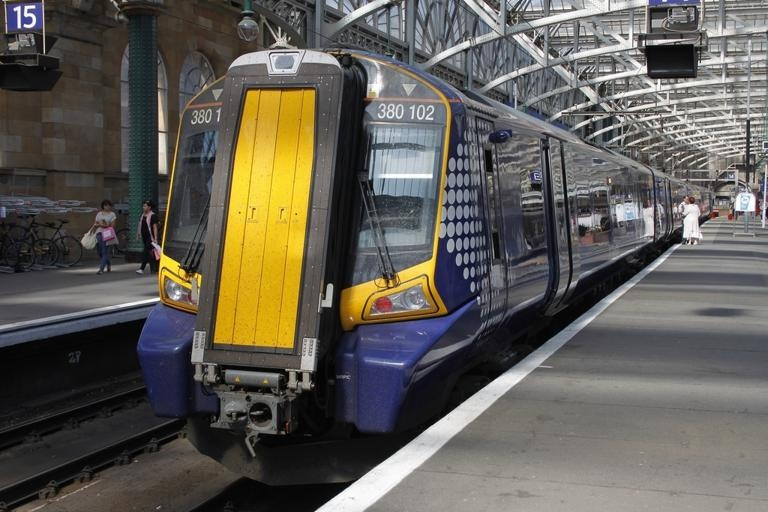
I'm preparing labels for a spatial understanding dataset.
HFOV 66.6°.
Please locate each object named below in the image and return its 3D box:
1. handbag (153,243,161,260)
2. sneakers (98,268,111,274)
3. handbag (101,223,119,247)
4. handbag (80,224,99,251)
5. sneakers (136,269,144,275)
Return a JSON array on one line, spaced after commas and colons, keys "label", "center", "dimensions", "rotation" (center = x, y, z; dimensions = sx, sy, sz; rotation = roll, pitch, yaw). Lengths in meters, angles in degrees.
[{"label": "handbag", "center": [-5.235, -0.108, 13.438], "dimensions": [0.101, 0.400, 0.279], "rotation": [-1, -4, -32]}, {"label": "sneakers", "center": [-7.333, 0.403, 15.216], "dimensions": [0.138, 0.193, 0.438], "rotation": [-2, -6, -1]}, {"label": "handbag", "center": [-7.060, -0.535, 14.914], "dimensions": [0.412, 0.541, 0.384], "rotation": [-3, 5, -37]}, {"label": "handbag", "center": [-8.374, -0.494, 16.561], "dimensions": [0.376, 0.668, 0.588], "rotation": [11, 11, -37]}, {"label": "sneakers", "center": [-6.345, 0.414, 15.149], "dimensions": [0.312, 0.142, 0.147], "rotation": [6, 1, 29]}]
